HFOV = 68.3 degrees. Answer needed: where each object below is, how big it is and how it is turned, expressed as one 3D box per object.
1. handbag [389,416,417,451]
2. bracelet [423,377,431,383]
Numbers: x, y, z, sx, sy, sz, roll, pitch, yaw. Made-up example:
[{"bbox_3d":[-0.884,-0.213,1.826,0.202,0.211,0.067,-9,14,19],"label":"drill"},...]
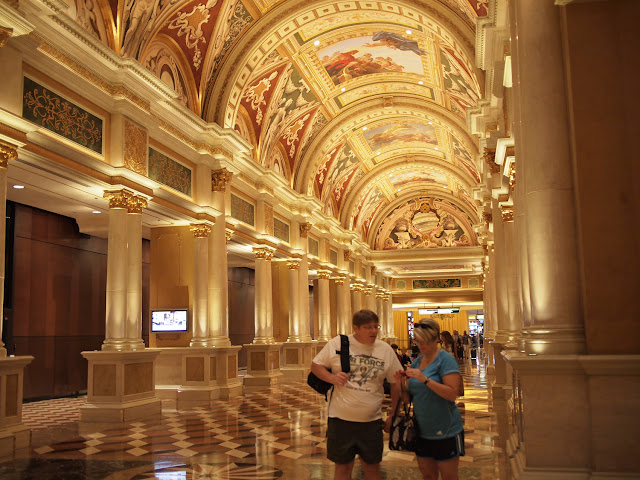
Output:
[{"bbox_3d":[0.659,1.532,3.771,0.178,0.322,0.252,6,-18,-27],"label":"handbag"},{"bbox_3d":[0.813,1.075,3.614,0.049,0.049,0.094,-3,-13,11],"label":"bracelet"}]
